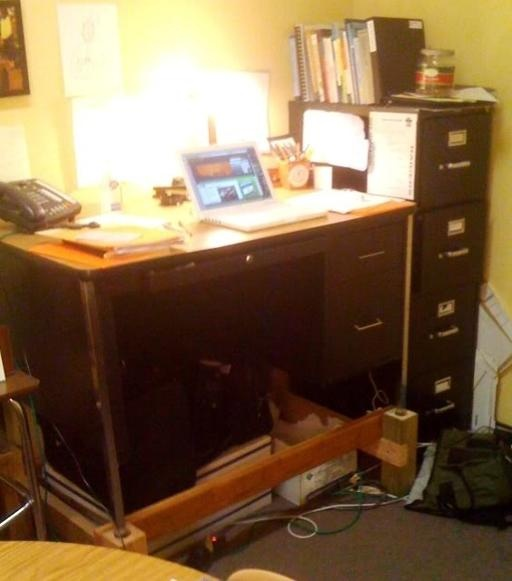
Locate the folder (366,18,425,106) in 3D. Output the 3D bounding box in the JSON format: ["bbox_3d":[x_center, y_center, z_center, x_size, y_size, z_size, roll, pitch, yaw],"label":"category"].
[{"bbox_3d":[0.485,-0.827,1.958,0.265,0.371,0.044,-6,62,-8],"label":"folder"}]

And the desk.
[{"bbox_3d":[-0.132,0.233,1.483,0.469,0.630,0.896,15,23,39],"label":"desk"}]

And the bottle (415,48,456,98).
[{"bbox_3d":[0.638,-0.792,1.879,0.126,0.148,0.131,-10,35,-1],"label":"bottle"}]

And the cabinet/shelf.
[{"bbox_3d":[0.613,-0.029,2.167,0.415,1.254,0.514,-11,17,-30],"label":"cabinet/shelf"}]

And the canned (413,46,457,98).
[{"bbox_3d":[0.639,-0.780,1.886,0.131,0.151,0.129,18,32,35],"label":"canned"}]

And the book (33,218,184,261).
[{"bbox_3d":[-0.333,-0.131,1.280,0.346,0.056,0.271,10,15,43],"label":"book"}]
